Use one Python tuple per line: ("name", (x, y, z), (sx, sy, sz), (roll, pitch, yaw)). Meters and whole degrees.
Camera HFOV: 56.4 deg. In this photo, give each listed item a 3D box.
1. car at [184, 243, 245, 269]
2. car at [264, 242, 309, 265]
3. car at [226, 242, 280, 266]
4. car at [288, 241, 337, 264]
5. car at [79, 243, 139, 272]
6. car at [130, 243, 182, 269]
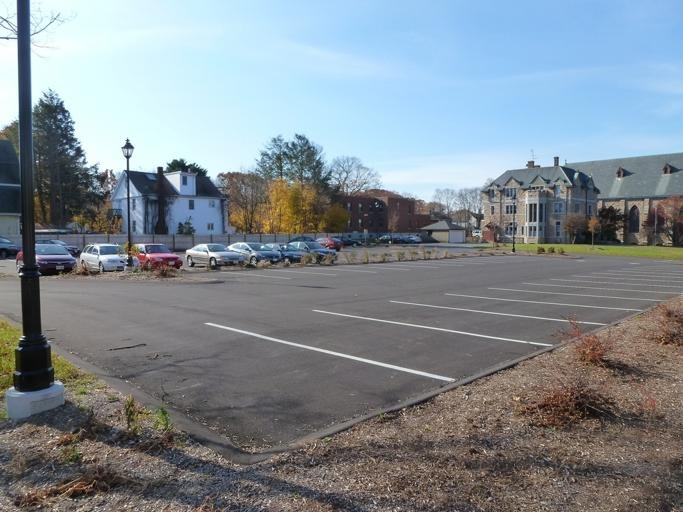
("car", (-6.462, 0.023, 32.169), (1.308, 0.928, 2.789), (-1, 0, -42))
("car", (-3.070, -0.187, 35.937), (0.994, 0.808, 2.137), (-2, 2, -42))
("car", (-4.725, -0.186, 34.098), (2.621, 0.898, 1.232), (3, 4, 41))
("car", (-1.514, -0.238, 37.364), (1.262, 0.994, 2.883), (-6, 6, -40))
("car", (-10.558, 0.091, 28.746), (1.294, 0.938, 2.809), (-1, 0, -41))
("car", (-8.620, -0.030, 29.823), (1.398, 1.081, 3.177), (-1, 0, -40))
